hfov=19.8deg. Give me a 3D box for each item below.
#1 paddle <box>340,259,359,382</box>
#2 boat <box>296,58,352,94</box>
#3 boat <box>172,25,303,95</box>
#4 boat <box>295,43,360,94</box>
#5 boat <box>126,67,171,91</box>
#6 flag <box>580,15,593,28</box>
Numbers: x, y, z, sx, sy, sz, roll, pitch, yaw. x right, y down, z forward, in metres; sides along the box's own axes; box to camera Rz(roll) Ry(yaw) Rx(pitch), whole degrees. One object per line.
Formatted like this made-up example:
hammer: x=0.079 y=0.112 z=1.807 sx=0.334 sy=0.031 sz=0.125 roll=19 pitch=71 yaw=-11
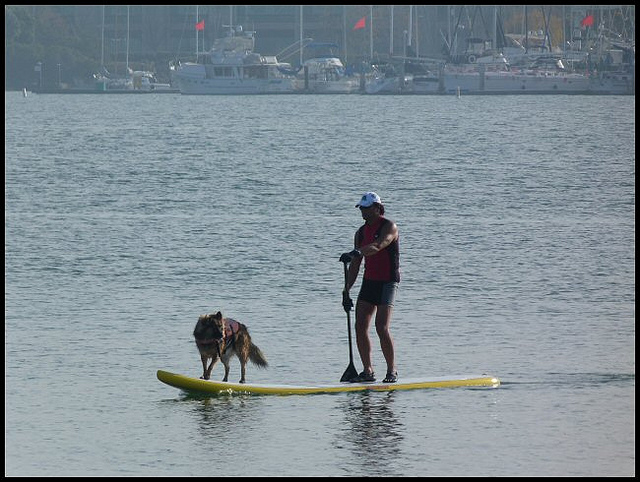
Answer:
paddle: x=1.285 y=3.590 z=82.640 sx=0.992 sy=4.950 sz=1.000 roll=4 pitch=11 yaw=13
boat: x=0.289 y=-16.029 z=179.230 sx=3.891 sy=1.946 sz=5.419 roll=0 pitch=3 yaw=2
boat: x=-6.113 y=-16.494 z=171.525 sx=13.497 sy=6.713 sz=5.572 roll=-5 pitch=12 yaw=-21
boat: x=0.570 y=-17.072 z=184.564 sx=5.767 sy=3.991 sz=18.839 roll=-1 pitch=13 yaw=0
boat: x=-19.345 y=-17.972 z=205.024 sx=4.143 sy=1.719 sz=7.575 roll=-1 pitch=13 yaw=-2
flag: x=22.707 y=-19.100 z=158.217 sx=0.802 sy=0.944 sz=1.875 roll=-3 pitch=-6 yaw=-7
